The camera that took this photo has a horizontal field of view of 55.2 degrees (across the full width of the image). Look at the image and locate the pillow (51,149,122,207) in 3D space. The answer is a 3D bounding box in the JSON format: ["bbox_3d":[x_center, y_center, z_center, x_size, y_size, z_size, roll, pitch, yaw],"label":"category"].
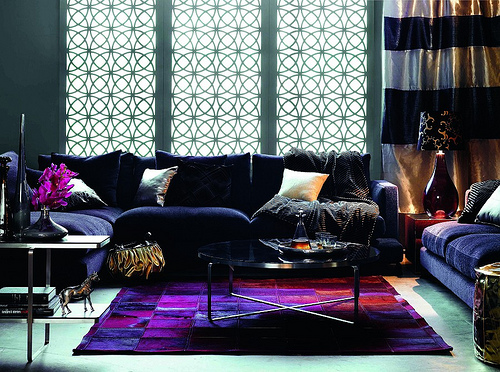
[{"bbox_3d":[-1.740,-0.040,4.976,0.764,0.720,0.285,0,-16,0],"label":"pillow"}]

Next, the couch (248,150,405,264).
[{"bbox_3d":[0.631,0.209,4.735,1.682,0.993,1.288,-3,5,-2],"label":"couch"}]

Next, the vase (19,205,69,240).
[{"bbox_3d":[-1.239,0.224,2.926,0.208,0.142,0.207,1,-3,-13],"label":"vase"}]

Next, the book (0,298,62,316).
[{"bbox_3d":[-1.264,0.718,2.769,0.324,0.054,0.133,-4,8,-29],"label":"book"}]

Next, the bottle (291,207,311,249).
[{"bbox_3d":[0.353,0.280,3.258,0.133,0.265,0.222,1,7,6],"label":"bottle"}]

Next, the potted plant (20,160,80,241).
[{"bbox_3d":[-1.227,0.087,2.900,0.238,0.428,0.242,12,7,39],"label":"potted plant"}]

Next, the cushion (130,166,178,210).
[{"bbox_3d":[-0.935,0.002,4.753,0.426,0.419,0.133,1,-27,33],"label":"cushion"}]

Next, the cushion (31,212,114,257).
[{"bbox_3d":[-1.433,0.316,3.879,0.431,0.111,0.471,5,3,0],"label":"cushion"}]

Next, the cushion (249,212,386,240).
[{"bbox_3d":[0.609,0.371,4.349,1.176,0.216,0.503,2,7,18],"label":"cushion"}]

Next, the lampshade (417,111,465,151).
[{"bbox_3d":[1.871,-0.510,4.803,0.411,0.399,0.383,-1,-5,-3],"label":"lampshade"}]

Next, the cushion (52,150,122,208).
[{"bbox_3d":[-1.707,-0.051,4.970,0.701,0.581,0.262,1,8,0],"label":"cushion"}]

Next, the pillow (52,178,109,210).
[{"bbox_3d":[-1.617,0.106,4.644,0.420,0.132,0.442,18,32,29],"label":"pillow"}]

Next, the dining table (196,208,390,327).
[{"bbox_3d":[0.313,0.514,3.649,1.241,0.803,1.451,1,7,7],"label":"dining table"}]

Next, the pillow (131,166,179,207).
[{"bbox_3d":[-0.928,-0.014,4.763,0.402,0.394,0.126,0,-29,34],"label":"pillow"}]

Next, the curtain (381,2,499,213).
[{"bbox_3d":[2.084,-0.861,5.262,1.231,2.323,0.253,1,7,11],"label":"curtain"}]

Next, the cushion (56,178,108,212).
[{"bbox_3d":[-1.624,0.114,4.631,0.439,0.133,0.441,-5,45,-39],"label":"cushion"}]

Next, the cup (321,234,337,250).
[{"bbox_3d":[0.541,0.382,3.256,0.092,0.102,0.094,0,-2,0],"label":"cup"}]

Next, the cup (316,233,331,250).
[{"bbox_3d":[0.520,0.381,3.278,0.097,0.122,0.091,1,2,0],"label":"cup"}]

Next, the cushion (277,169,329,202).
[{"bbox_3d":[0.528,-0.013,4.731,0.454,0.270,0.365,2,7,15],"label":"cushion"}]

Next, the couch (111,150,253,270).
[{"bbox_3d":[-0.518,0.219,4.828,1.462,1.095,1.448,1,2,-12],"label":"couch"}]
